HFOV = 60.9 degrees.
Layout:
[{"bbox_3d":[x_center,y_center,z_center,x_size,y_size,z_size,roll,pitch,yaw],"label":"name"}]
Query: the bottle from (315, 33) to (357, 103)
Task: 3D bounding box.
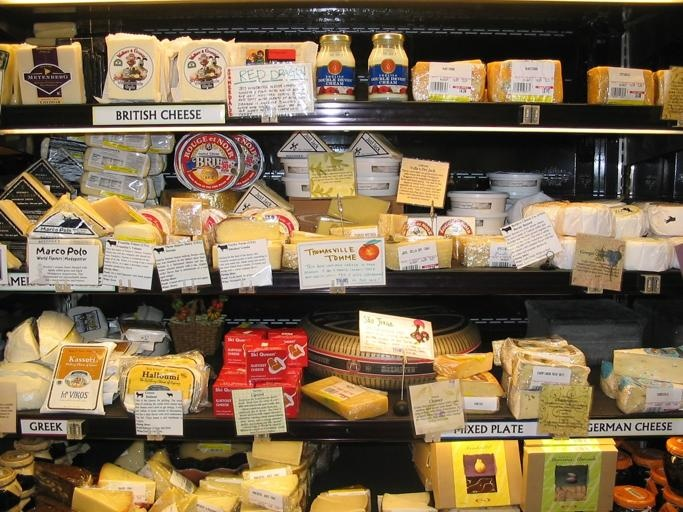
[{"bbox_3d":[-0.031,-0.725,2.246,0.154,0.248,0.088,-4,12,-1],"label":"bottle"}]
